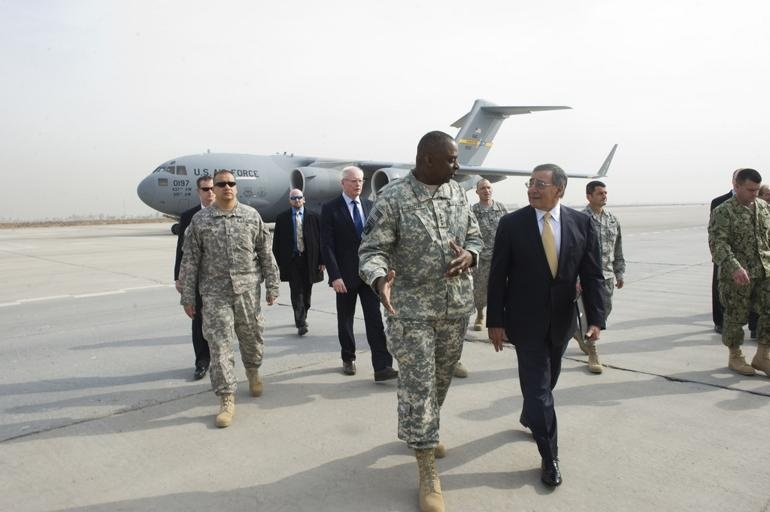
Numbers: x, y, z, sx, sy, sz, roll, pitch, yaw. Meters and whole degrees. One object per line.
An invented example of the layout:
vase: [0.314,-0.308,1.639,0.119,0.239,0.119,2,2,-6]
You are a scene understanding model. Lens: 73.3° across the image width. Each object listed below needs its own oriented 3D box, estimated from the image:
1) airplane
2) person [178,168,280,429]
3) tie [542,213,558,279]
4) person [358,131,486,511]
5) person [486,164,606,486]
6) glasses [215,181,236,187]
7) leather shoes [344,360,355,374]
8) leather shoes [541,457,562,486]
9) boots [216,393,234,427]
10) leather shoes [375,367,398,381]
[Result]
airplane: [-1.784,-3.147,20.093,11.662,3.805,11.171,0,6,-29]
person: [-1.620,0.316,5.033,0.763,2.273,1.051,3,12,18]
tie: [1.315,-0.099,4.131,0.122,0.491,0.173,-2,12,-4]
person: [0.242,0.415,3.912,0.859,2.669,1.059,2,12,14]
person: [1.291,0.464,4.168,0.919,2.378,0.794,-11,15,-40]
glasses: [-1.556,-0.710,5.043,0.178,0.056,0.085,-7,12,-29]
leather shoes: [-0.398,1.244,5.837,0.140,0.133,0.208,-2,11,-5]
leather shoes: [1.247,1.642,3.903,0.104,0.114,0.256,-2,-3,2]
boots: [-1.488,1.411,4.786,0.177,0.228,0.317,-4,11,-15]
leather shoes: [0.010,1.279,5.626,0.322,0.122,0.103,-4,4,-4]
